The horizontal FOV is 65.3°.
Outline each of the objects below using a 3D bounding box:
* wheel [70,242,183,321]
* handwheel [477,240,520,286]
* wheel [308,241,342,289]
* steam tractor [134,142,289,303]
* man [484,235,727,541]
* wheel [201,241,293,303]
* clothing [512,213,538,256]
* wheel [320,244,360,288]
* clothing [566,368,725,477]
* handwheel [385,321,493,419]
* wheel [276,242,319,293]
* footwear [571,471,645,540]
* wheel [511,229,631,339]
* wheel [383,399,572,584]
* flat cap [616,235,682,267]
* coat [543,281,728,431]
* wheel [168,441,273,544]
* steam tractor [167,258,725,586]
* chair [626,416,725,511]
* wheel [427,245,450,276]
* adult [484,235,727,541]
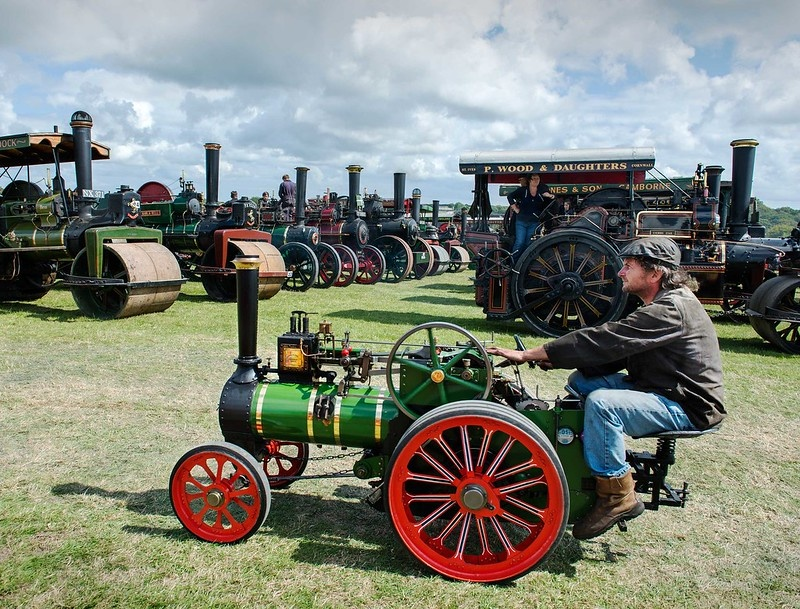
[{"bbox_3d":[-4.593,-0.398,10.792,1.455,1.363,1.635,5,7,23],"label":"wheel"},{"bbox_3d":[1.595,-0.646,10.173,0.547,0.543,0.692,-1,6,2],"label":"handwheel"},{"bbox_3d":[-1.963,-0.998,16.193,0.242,1.307,1.222,-5,-4,-35],"label":"wheel"},{"bbox_3d":[-4.492,-1.923,14.019,5.131,3.264,1.340,13,12,39],"label":"steam tractor"},{"bbox_3d":[1.395,0.479,4.214,1.487,1.777,1.068,2,0,17],"label":"man"},{"bbox_3d":[-2.733,-0.570,10.795,1.009,1.027,1.158,29,13,25],"label":"wheel"},{"bbox_3d":[2.104,-0.985,10.293,0.396,0.930,0.273,6,-28,6],"label":"clothing"},{"bbox_3d":[-1.574,-1.098,17.776,1.144,1.131,0.383,23,14,36],"label":"wheel"},{"bbox_3d":[1.490,0.729,3.918,0.718,0.545,0.606,-4,-12,23],"label":"clothing"},{"bbox_3d":[0.270,0.462,4.337,0.750,0.726,0.403,-1,5,9],"label":"handwheel"},{"bbox_3d":[-2.432,-0.891,14.774,0.435,1.153,1.166,-11,-3,-45],"label":"wheel"},{"bbox_3d":[1.227,1.193,3.809,0.491,0.359,0.174,-24,23,-6],"label":"footwear"},{"bbox_3d":[2.447,-0.311,8.767,1.357,1.334,0.536,-18,4,16],"label":"wheel"},{"bbox_3d":[0.479,1.121,3.765,0.792,0.761,0.279,43,7,5],"label":"wheel"},{"bbox_3d":[1.639,-0.354,4.026,0.290,0.138,0.229,11,7,19],"label":"flat cap"},{"bbox_3d":[1.529,0.339,4.148,1.214,0.826,1.054,5,-2,40],"label":"coat"},{"bbox_3d":[-1.172,1.232,4.029,0.662,0.640,0.140,5,5,12],"label":"wheel"},{"bbox_3d":[0.187,0.804,4.386,3.272,1.477,1.593,3,8,16],"label":"steam tractor"},{"bbox_3d":[1.660,0.963,4.083,0.793,0.505,0.630,12,-7,30],"label":"chair"},{"bbox_3d":[1.377,-1.575,22.425,0.699,1.064,1.102,-13,18,-37],"label":"wheel"},{"bbox_3d":[1.390,0.489,4.210,1.372,1.790,1.412,2,1,-26],"label":"adult"}]
